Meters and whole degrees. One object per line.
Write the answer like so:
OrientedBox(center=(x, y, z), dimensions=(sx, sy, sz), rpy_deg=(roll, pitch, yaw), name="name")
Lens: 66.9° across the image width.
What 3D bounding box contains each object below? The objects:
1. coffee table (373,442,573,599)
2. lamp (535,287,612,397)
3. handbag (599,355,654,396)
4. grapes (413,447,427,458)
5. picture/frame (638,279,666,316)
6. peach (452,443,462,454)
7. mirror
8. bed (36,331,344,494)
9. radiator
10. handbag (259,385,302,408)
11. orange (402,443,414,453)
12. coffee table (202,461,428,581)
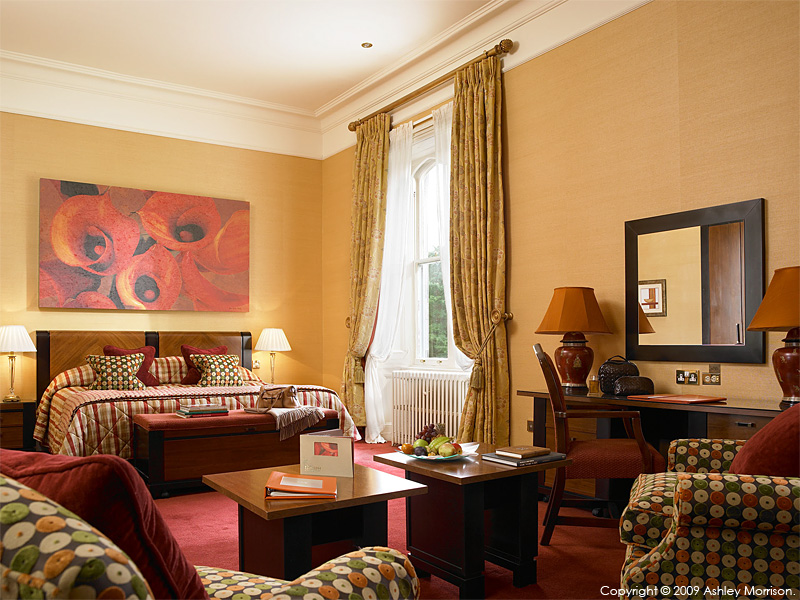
OrientedBox(center=(0.403, 1.084, 3.244), dimensions=(0.743, 0.630, 0.724), rpy_deg=(2, -4, -33), name="coffee table")
OrientedBox(center=(1.410, 0.310, 4.979), dimensions=(0.753, 0.933, 0.668), rpy_deg=(2, -6, -12), name="lamp")
OrientedBox(center=(1.664, 0.571, 4.404), dimensions=(0.335, 0.316, 0.244), rpy_deg=(4, -10, -25), name="handbag")
OrientedBox(center=(0.115, 0.831, 3.311), dimensions=(0.054, 0.026, 0.072), rpy_deg=(5, -5, -9), name="grapes")
OrientedBox(center=(1.879, -0.020, 4.500), dimensions=(0.021, 0.282, 0.266), rpy_deg=(2, 1, -33), name="picture/frame")
OrientedBox(center=(0.314, 0.819, 3.344), dimensions=(0.046, 0.045, 0.046), rpy_deg=(1, -5, -13), name="peach")
OrientedBox(center=(2.097, -0.135, 4.226), dimensions=(0.070, 1.401, 1.212), rpy_deg=(4, -4, -38), name="mirror")
OrientedBox(center=(-2.564, 0.855, 5.909), dimensions=(1.800, 0.928, 1.762), rpy_deg=(2, -5, -39), name="bed")
OrientedBox(center=(0.238, 1.188, 6.535), dimensions=(0.998, 0.811, 0.134), rpy_deg=(0, -4, 31), name="radiator")
OrientedBox(center=(-1.059, 0.857, 5.335), dimensions=(0.194, 0.120, 0.248), rpy_deg=(-2, -6, 18), name="handbag")
OrientedBox(center=(0.052, 0.837, 3.437), dimensions=(0.045, 0.046, 0.060), rpy_deg=(-21, -24, 35), name="orange")
OrientedBox(center=(-0.447, 1.006, 2.849), dimensions=(0.655, 0.391, 0.645), rpy_deg=(4, -8, -35), name="coffee table")
